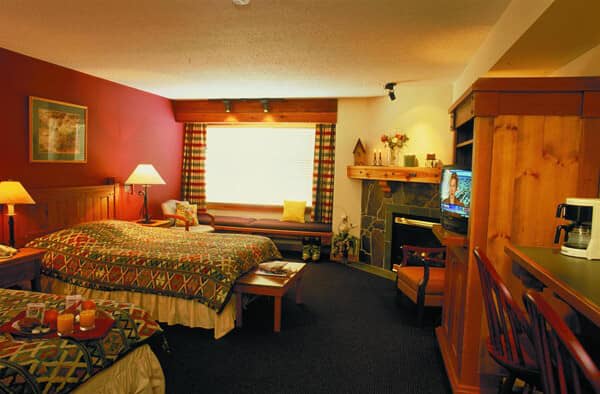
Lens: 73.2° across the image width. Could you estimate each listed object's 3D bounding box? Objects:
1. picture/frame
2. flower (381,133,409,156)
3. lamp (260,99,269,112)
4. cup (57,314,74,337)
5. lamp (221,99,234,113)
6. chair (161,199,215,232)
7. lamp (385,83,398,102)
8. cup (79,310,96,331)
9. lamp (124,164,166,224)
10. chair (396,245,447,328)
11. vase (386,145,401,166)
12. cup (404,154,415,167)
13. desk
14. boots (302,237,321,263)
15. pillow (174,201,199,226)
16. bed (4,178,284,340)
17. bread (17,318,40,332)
[{"bbox_3d":[-3.220,-0.899,5.566,0.818,0.789,0.026,10,6,32],"label":"picture/frame"},{"bbox_3d":[1.553,-0.849,6.618,0.373,0.303,0.359,4,7,41],"label":"flower"},{"bbox_3d":[-0.690,-1.715,7.631,0.174,0.239,0.131,7,13,21],"label":"lamp"},{"bbox_3d":[-1.810,0.982,3.118,0.143,0.152,0.140,0,-4,0],"label":"cup"},{"bbox_3d":[-1.421,-1.752,7.798,0.215,0.246,0.132,2,12,3],"label":"lamp"},{"bbox_3d":[-1.960,0.333,7.289,0.757,0.790,0.635,-2,0,35],"label":"chair"},{"bbox_3d":[1.378,-1.586,6.175,0.250,0.264,0.248,-1,3,9],"label":"lamp"},{"bbox_3d":[-1.692,0.971,3.203,0.139,0.146,0.138,-1,-4,0],"label":"cup"},{"bbox_3d":[-2.558,-0.044,6.641,0.691,0.951,0.627,0,-1,-12],"label":"lamp"},{"bbox_3d":[1.515,1.024,5.098,0.565,0.839,1.427,6,12,18],"label":"chair"},{"bbox_3d":[1.541,-0.693,6.687,0.287,0.450,0.310,-1,4,-2],"label":"vase"},{"bbox_3d":[1.693,-0.566,6.247,0.176,0.162,0.176,0,-1,0],"label":"cup"},{"bbox_3d":[-0.202,1.226,5.010,0.654,0.478,1.203,-1,-1,29],"label":"desk"},{"bbox_3d":[0.202,0.909,7.200,0.336,0.391,0.313,2,12,0],"label":"boots"},{"bbox_3d":[-2.063,0.308,7.234,0.434,0.427,0.158,3,-32,-38],"label":"pillow"},{"bbox_3d":[-1.874,0.650,5.204,2.724,1.258,1.870,6,12,2],"label":"bed"},{"bbox_3d":[-2.082,0.974,3.094,0.136,0.072,0.100,11,-4,-42],"label":"bread"}]
